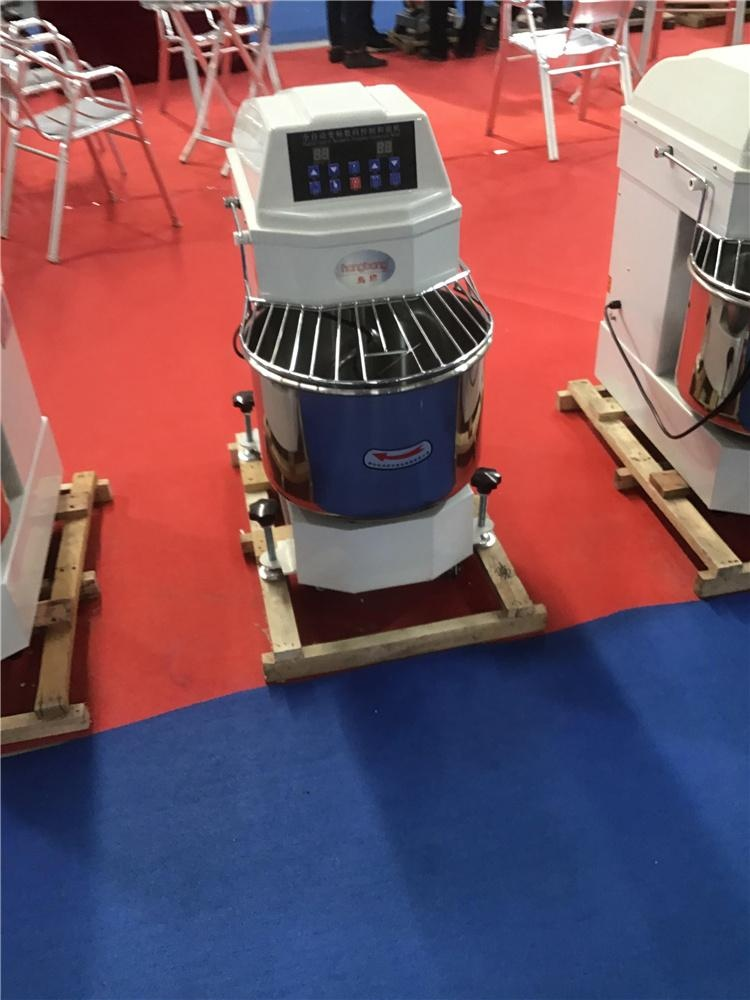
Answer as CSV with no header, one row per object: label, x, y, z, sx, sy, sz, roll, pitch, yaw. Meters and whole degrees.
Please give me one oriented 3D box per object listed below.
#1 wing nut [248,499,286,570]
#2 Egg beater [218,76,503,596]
wing nut,-0.282,0.110,2.092,0.066,0.175,0.070,-9,14,-6
Egg beater,-0.025,-0.257,1.866,0.680,1.272,0.472,6,32,9
